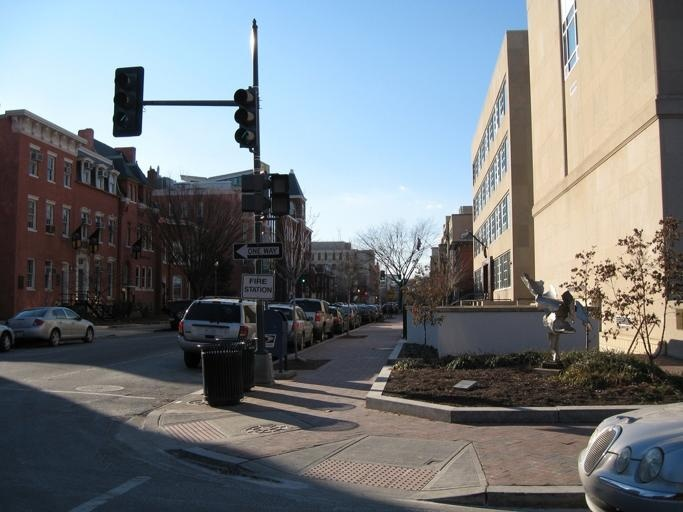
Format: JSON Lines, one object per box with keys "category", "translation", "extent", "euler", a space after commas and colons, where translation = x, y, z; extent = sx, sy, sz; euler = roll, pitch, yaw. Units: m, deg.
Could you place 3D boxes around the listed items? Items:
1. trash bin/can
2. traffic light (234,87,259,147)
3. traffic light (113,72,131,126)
{"category": "trash bin/can", "translation": [-2.382, 2.441, 13.895], "extent": [1.023, 1.320, 1.175], "euler": [0, -6, -5]}
{"category": "traffic light", "translation": [-2.224, -3.269, 15.460], "extent": [0.405, 1.504, 0.667], "euler": [-6, -7, 43]}
{"category": "traffic light", "translation": [-4.686, -3.339, 14.199], "extent": [0.400, 1.144, 0.220], "euler": [-3, -6, 19]}
